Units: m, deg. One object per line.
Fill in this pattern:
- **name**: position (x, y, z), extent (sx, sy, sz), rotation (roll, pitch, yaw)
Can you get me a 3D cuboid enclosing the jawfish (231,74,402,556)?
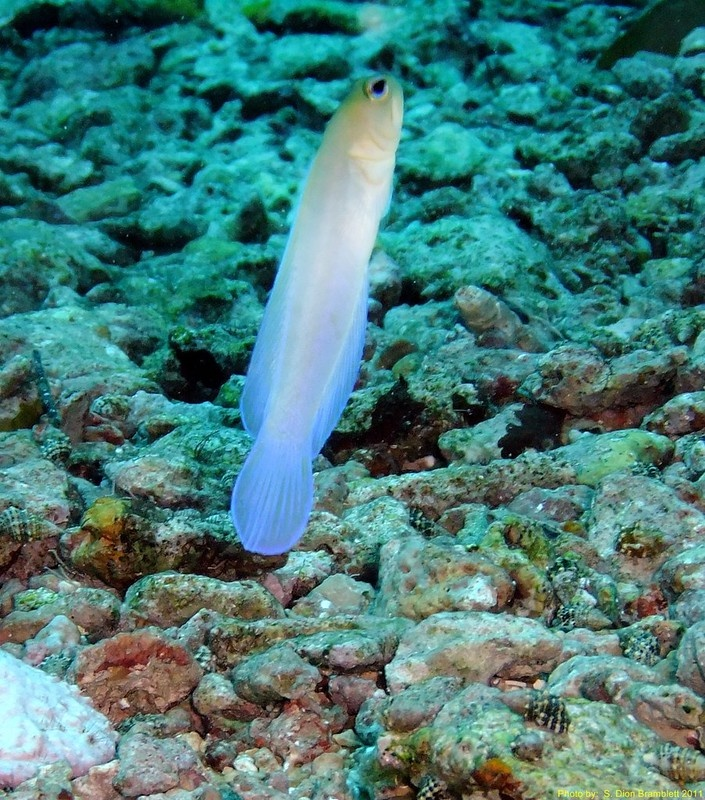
- **jawfish**: position (-0.148, -0.278, 3.348), extent (0.369, 1.670, 0.174), rotation (11, 9, -5)
